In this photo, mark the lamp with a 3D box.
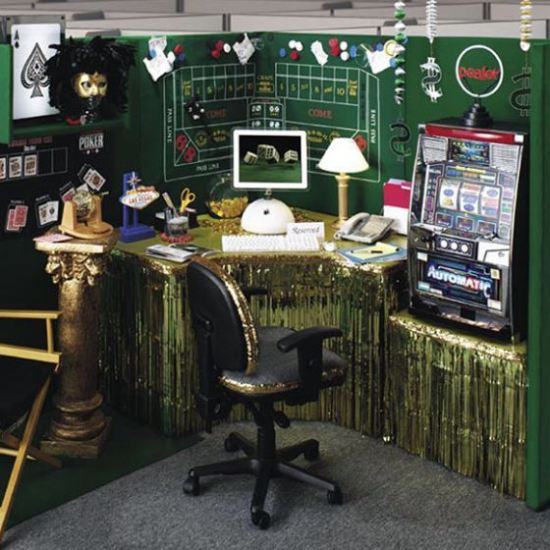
[{"bbox_3d":[0.397,-0.515,3.111,0.324,0.484,0.307,-1,14,-3],"label":"lamp"}]

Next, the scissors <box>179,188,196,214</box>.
[{"bbox_3d":[-0.509,-0.436,3.113,0.086,0.220,0.016,30,-43,-22],"label":"scissors"}]

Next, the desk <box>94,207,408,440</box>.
[{"bbox_3d":[-0.251,0.354,3.319,1.716,0.827,1.741,4,2,36],"label":"desk"}]

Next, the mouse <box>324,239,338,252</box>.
[{"bbox_3d":[0.283,-0.151,2.737,0.065,0.022,0.048,-16,21,-22],"label":"mouse"}]

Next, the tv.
[{"bbox_3d":[-0.026,-0.540,3.080,0.475,0.538,0.323,4,21,14],"label":"tv"}]

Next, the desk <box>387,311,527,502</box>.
[{"bbox_3d":[0.911,0.552,2.523,0.466,0.610,0.758,-8,15,-38],"label":"desk"}]

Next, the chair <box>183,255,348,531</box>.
[{"bbox_3d":[-0.047,0.479,2.282,0.759,1.083,0.718,-9,20,-25],"label":"chair"}]
